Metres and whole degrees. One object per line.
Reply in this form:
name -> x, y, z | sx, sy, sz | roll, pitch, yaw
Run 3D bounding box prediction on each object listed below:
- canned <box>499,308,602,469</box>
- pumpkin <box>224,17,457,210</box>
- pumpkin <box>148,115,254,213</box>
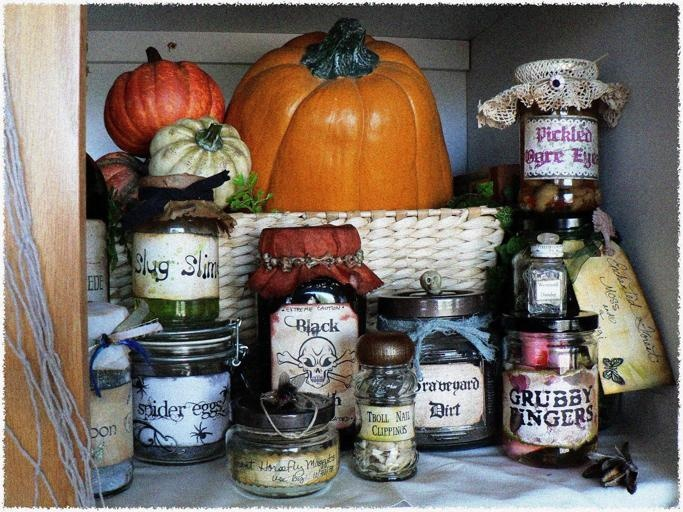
canned -> 0.332, 0.214, 1.183 | 0.163, 0.224, 0.153 | -1, -4, 25
pumpkin -> -0.053, -0.252, 1.604 | 0.495, 0.387, 0.438 | -2, 33, -17
pumpkin -> -0.253, -0.168, 1.328 | 0.182, 0.166, 0.114 | -11, 14, -43
